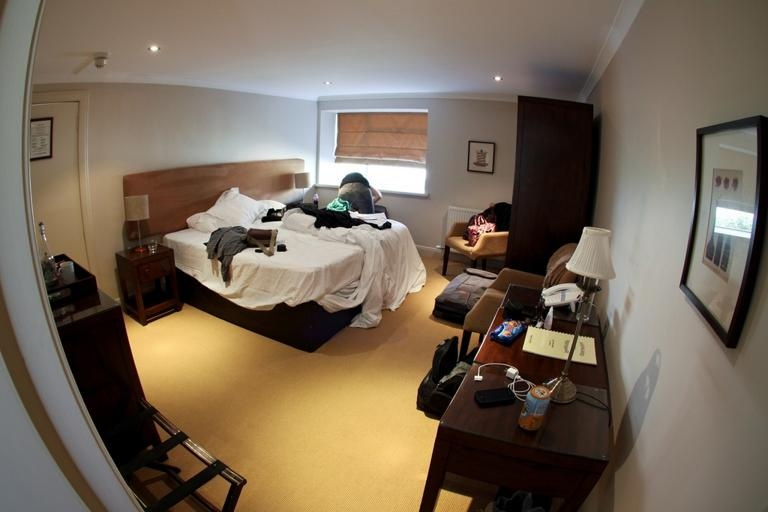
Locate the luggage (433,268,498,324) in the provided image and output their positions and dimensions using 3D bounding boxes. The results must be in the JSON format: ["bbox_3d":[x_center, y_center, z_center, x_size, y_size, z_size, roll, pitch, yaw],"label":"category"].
[{"bbox_3d":[0.824,0.383,4.763,0.372,0.219,0.711,5,17,25],"label":"luggage"}]

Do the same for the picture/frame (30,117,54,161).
[{"bbox_3d":[-2.621,-0.906,3.609,0.137,0.329,0.298,-4,13,-18],"label":"picture/frame"}]

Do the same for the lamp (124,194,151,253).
[{"bbox_3d":[-2.315,-0.323,4.407,0.187,0.520,0.406,-6,14,-29],"label":"lamp"}]

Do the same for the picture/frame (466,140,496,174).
[{"bbox_3d":[1.297,-1.327,6.178,0.374,0.462,0.046,9,19,27],"label":"picture/frame"}]

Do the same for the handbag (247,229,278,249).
[{"bbox_3d":[-1.145,-0.177,4.482,0.201,0.086,0.211,5,16,9],"label":"handbag"}]

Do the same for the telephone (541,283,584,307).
[{"bbox_3d":[1.091,0.235,2.897,0.189,0.062,0.140,-12,14,-22],"label":"telephone"}]

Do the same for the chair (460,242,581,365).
[{"bbox_3d":[1.150,0.201,4.000,0.838,1.233,0.908,8,13,19],"label":"chair"}]

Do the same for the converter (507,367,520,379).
[{"bbox_3d":[0.660,0.584,2.393,0.053,0.039,0.039,12,14,33],"label":"converter"}]

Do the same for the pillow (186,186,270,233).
[{"bbox_3d":[-1.718,-0.497,5.194,0.486,0.170,0.575,31,39,15],"label":"pillow"}]

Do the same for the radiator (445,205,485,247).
[{"bbox_3d":[1.066,-0.394,6.033,0.514,0.554,0.055,8,-1,42],"label":"radiator"}]

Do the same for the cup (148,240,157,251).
[{"bbox_3d":[-2.198,-0.112,4.489,0.121,0.101,0.100,0,2,35],"label":"cup"}]

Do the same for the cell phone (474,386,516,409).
[{"bbox_3d":[0.530,0.675,2.267,0.171,0.038,0.082,-3,22,-3],"label":"cell phone"}]

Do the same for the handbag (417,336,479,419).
[{"bbox_3d":[0.496,0.918,3.413,0.570,0.205,0.393,-54,26,-15],"label":"handbag"}]
